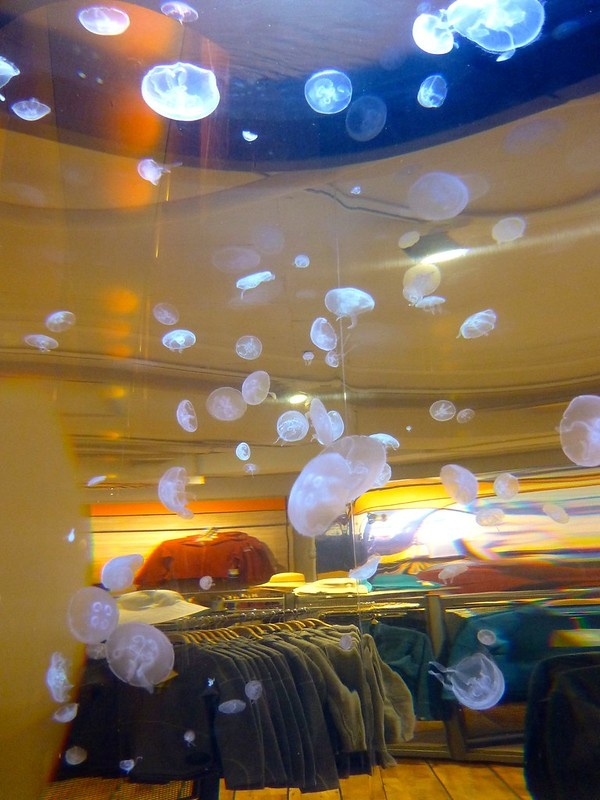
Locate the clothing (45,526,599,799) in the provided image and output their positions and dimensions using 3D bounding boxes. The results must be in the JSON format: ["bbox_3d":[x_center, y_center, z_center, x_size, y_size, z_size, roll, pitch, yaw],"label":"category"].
[{"bbox_3d":[0.050,0.677,1.521,1.382,0.484,0.285,-8,-12,17],"label":"clothing"}]
